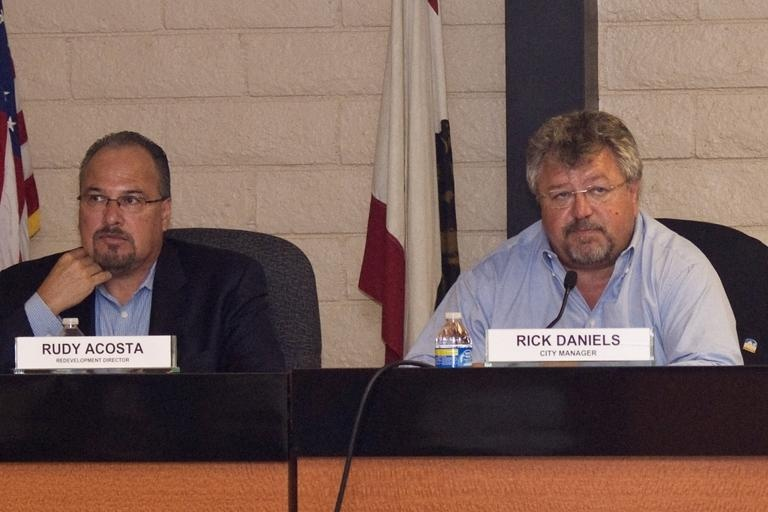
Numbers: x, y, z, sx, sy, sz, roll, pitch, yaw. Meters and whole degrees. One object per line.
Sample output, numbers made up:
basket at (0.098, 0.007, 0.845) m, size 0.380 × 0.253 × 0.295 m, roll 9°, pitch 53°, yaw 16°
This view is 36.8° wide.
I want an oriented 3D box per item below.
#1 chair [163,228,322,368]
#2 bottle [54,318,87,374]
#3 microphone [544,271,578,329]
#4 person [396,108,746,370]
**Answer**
chair at (-0.535, 0.203, 4.127) m, size 0.430 × 0.730 × 0.486 m, roll -2°, pitch -15°, yaw -12°
bottle at (-0.841, 0.246, 3.085) m, size 0.089 × 0.189 × 0.096 m, roll 2°, pitch -8°, yaw 0°
microphone at (0.578, 0.149, 3.716) m, size 0.028 × 0.182 × 0.031 m, roll 17°, pitch -12°, yaw 16°
person at (0.635, 0.081, 3.776) m, size 1.120 × 1.040 × 0.815 m, roll 1°, pitch 3°, yaw 33°
